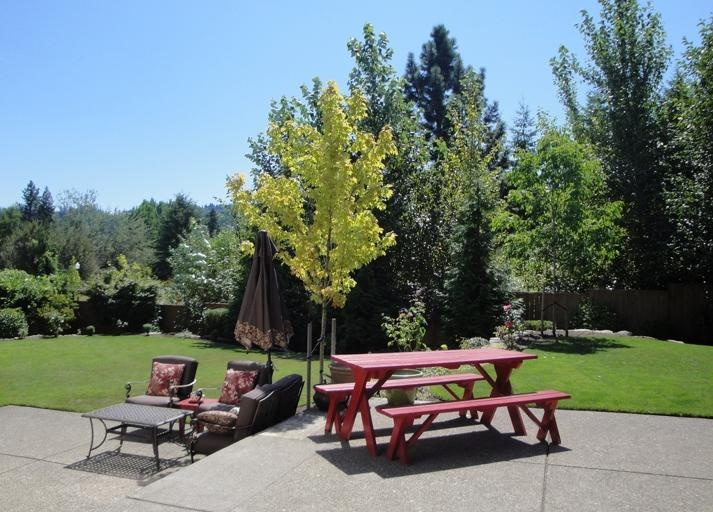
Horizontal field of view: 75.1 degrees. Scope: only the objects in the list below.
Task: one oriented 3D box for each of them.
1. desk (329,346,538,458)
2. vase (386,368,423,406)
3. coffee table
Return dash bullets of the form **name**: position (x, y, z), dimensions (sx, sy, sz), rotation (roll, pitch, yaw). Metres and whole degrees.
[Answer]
- **desk**: position (1.061, 2.675, 9.563), dimensions (3.633, 1.609, 3.636), rotation (3, -6, -18)
- **vase**: position (1.020, 2.785, 9.650), dimensions (0.758, 0.609, 0.779), rotation (-4, -4, 40)
- **coffee table**: position (-3.889, 3.562, 8.431), dimensions (1.822, 0.932, 1.088), rotation (-1, -3, 28)
